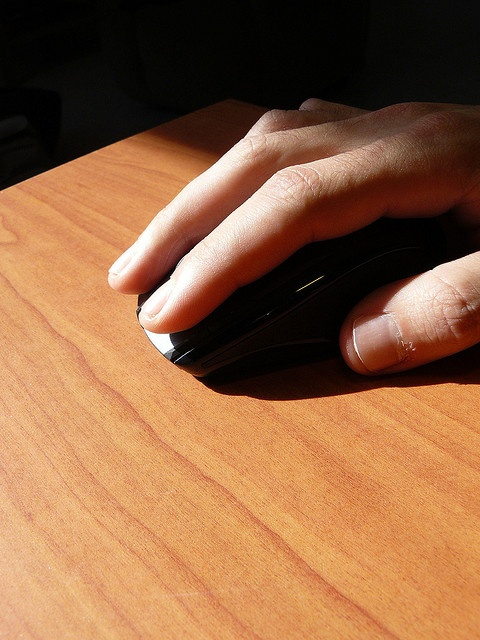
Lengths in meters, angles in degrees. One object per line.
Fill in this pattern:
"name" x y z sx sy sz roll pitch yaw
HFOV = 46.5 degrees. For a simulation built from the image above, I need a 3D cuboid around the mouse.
"mouse" 0.054 -0.022 0.352 0.178 0.053 0.101 -20 38 -11
